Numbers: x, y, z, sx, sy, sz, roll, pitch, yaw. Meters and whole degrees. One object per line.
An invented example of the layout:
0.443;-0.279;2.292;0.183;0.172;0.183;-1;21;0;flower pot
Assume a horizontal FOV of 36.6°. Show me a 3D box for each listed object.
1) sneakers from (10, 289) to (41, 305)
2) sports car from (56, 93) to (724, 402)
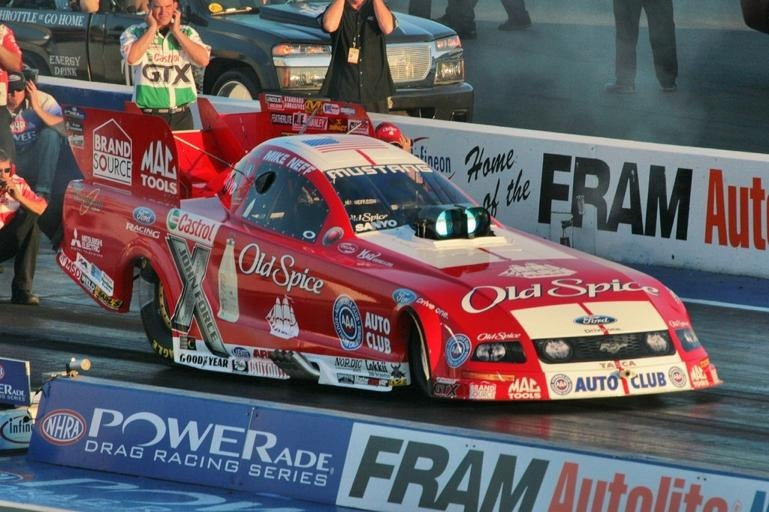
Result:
-3.853;0.442;12.415;0.348;0.157;0.132;0;3;28;sneakers
-0.239;-0.114;10.177;5.765;2.294;1.576;4;14;30;sports car
